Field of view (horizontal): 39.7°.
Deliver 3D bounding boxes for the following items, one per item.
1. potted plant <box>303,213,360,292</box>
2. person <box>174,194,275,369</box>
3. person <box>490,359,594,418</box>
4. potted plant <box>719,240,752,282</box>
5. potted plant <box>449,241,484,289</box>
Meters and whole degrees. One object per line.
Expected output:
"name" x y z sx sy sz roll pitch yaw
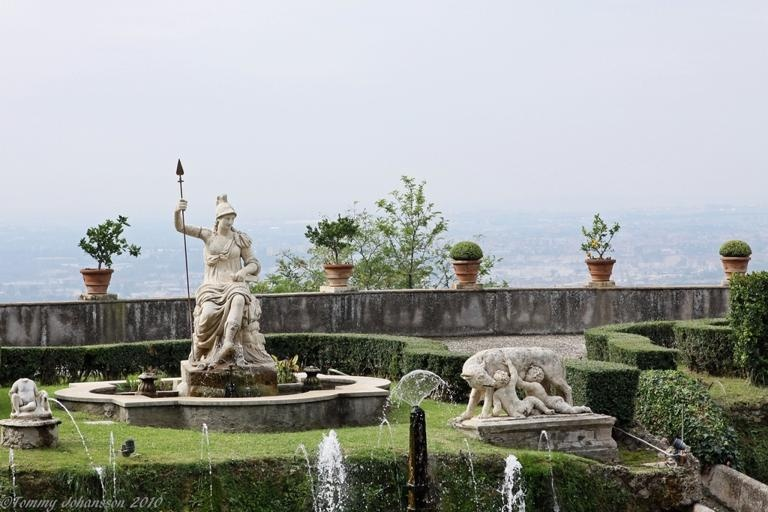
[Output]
"potted plant" -1.101 -0.214 24.079 1.696 1.842 1.450 1 9 18
"person" -2.441 0.361 16.429 1.354 2.595 0.850 -1 2 -7
"person" 2.168 1.924 15.425 1.473 0.735 0.678 5 -16 -11
"potted plant" 8.697 0.050 26.414 0.817 0.924 0.760 9 -8 -37
"potted plant" 1.883 0.185 24.470 0.682 1.055 0.497 -1 2 -1
